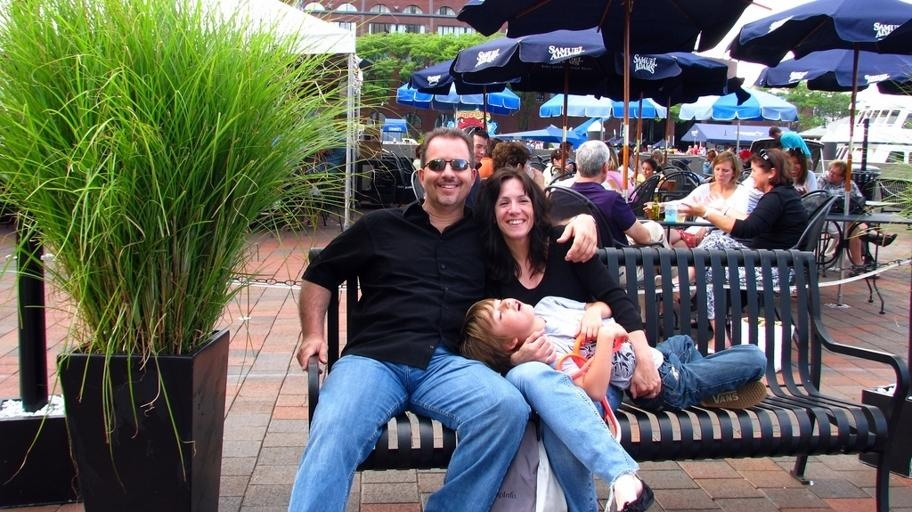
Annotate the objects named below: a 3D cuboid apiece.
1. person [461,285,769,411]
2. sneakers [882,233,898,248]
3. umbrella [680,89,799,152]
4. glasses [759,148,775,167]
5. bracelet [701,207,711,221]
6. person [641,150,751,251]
[{"bbox_3d":[0.925,0.538,4.033,1.742,0.644,0.737,-5,15,-4],"label":"person"},{"bbox_3d":[4.284,-0.166,6.560,0.132,0.130,0.511,13,14,33],"label":"sneakers"},{"bbox_3d":[7.672,-3.841,18.406,1.615,0.985,1.575,-5,6,-23],"label":"umbrella"},{"bbox_3d":[2.933,-0.937,6.299,0.151,0.159,0.124,6,14,2],"label":"glasses"},{"bbox_3d":[2.281,-0.388,6.011,0.073,0.102,0.106,13,-20,28],"label":"bracelet"},{"bbox_3d":[2.683,-0.421,7.391,1.132,1.413,0.828,-11,20,-31],"label":"person"}]
